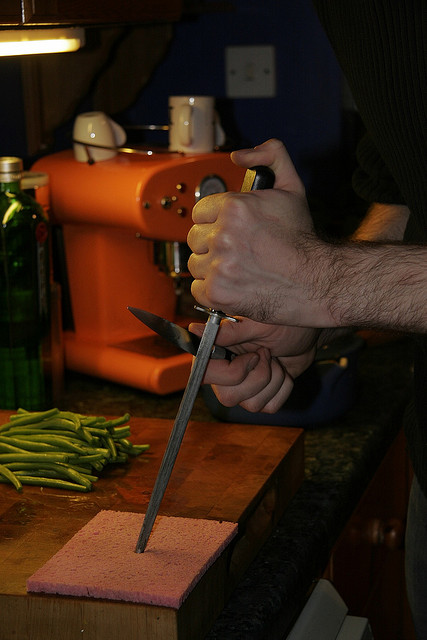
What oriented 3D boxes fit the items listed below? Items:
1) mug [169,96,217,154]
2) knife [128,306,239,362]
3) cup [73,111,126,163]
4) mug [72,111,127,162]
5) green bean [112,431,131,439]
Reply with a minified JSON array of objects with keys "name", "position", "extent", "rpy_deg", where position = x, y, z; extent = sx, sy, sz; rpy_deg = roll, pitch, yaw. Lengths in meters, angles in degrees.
[{"name":"mug","position":[-0.038,-0.367,1.134],"extent":[0.087,0.099,0.127],"rpy_deg":[0,3,0]},{"name":"knife","position":[-0.023,0.021,0.558],"extent":[0.017,0.023,0.192],"rpy_deg":[-19,-24,21]},{"name":"cup","position":[-0.209,-0.333,1.076],"extent":[0.094,0.097,0.067],"rpy_deg":[-7,7,-9]},{"name":"mug","position":[-0.213,-0.335,1.085],"extent":[0.107,0.079,0.071],"rpy_deg":[-2,37,-10]},{"name":"green bean","position":[-0.115,0.143,0.742],"extent":[0.005,0.007,0.030],"rpy_deg":[6,-2,27]}]
